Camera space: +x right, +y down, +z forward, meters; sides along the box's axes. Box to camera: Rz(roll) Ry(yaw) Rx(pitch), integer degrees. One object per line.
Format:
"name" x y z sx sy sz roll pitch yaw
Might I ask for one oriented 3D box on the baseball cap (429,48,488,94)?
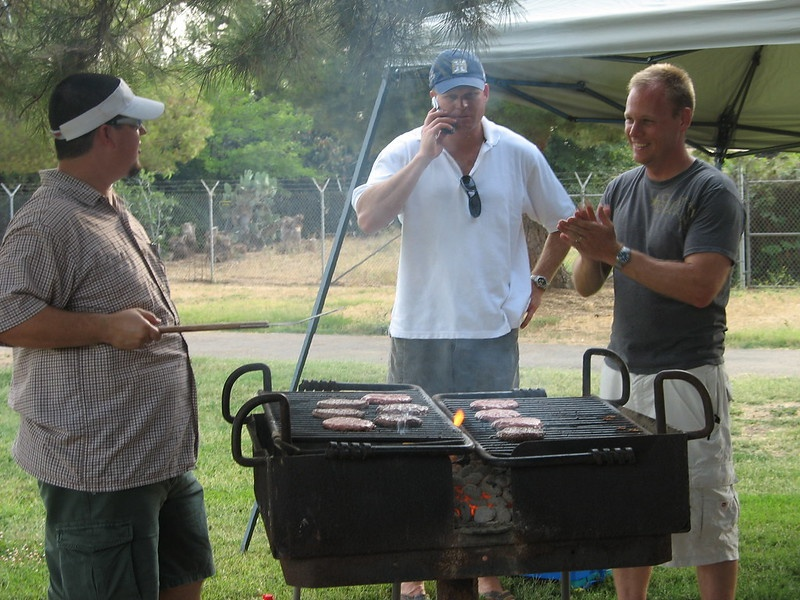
"baseball cap" 0.304 -1.197 5.257 0.290 0.239 0.187 1 6 1

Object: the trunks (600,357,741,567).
"trunks" 1.255 0.769 4.644 0.330 0.950 0.877 -4 9 -16

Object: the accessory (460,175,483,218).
"accessory" 0.386 -0.545 5.314 0.083 0.235 0.061 -14 5 15

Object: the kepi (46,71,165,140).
"kepi" -1.348 -0.849 4.646 0.410 0.136 0.271 -24 23 -10

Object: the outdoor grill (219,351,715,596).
"outdoor grill" 0.275 0.886 4.499 1.977 1.240 0.724 0 6 -4
